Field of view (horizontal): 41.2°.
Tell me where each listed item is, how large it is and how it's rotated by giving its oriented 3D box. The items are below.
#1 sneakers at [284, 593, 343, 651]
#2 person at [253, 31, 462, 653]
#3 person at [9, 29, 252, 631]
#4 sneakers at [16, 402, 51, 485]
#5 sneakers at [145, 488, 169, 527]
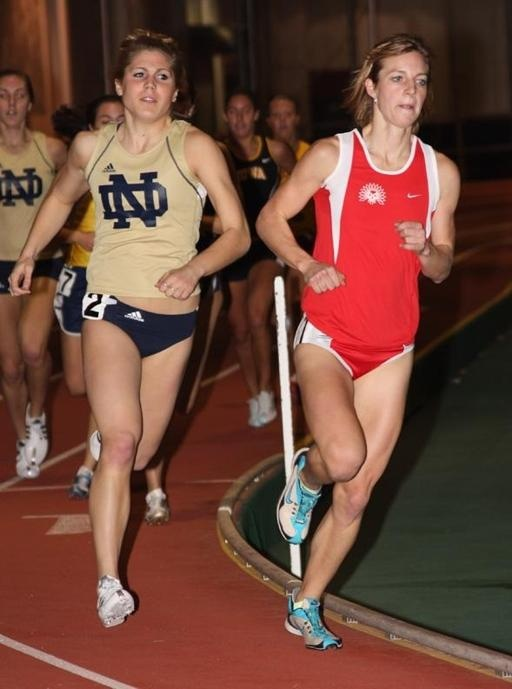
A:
[{"bbox_3d":[0.152,0.782,1.988,0.094,0.094,0.229,-2,12,-35],"label":"sneakers"},{"bbox_3d":[0.327,-0.006,1.972,0.669,1.736,0.636,-7,5,-4],"label":"person"},{"bbox_3d":[-0.460,-0.114,2.154,0.638,1.786,0.695,-3,6,37],"label":"person"},{"bbox_3d":[-1.331,0.601,4.052,0.175,0.426,0.206,-1,-4,-19],"label":"sneakers"},{"bbox_3d":[-0.474,0.766,3.190,0.110,0.166,0.078,-2,-17,-7],"label":"sneakers"}]
